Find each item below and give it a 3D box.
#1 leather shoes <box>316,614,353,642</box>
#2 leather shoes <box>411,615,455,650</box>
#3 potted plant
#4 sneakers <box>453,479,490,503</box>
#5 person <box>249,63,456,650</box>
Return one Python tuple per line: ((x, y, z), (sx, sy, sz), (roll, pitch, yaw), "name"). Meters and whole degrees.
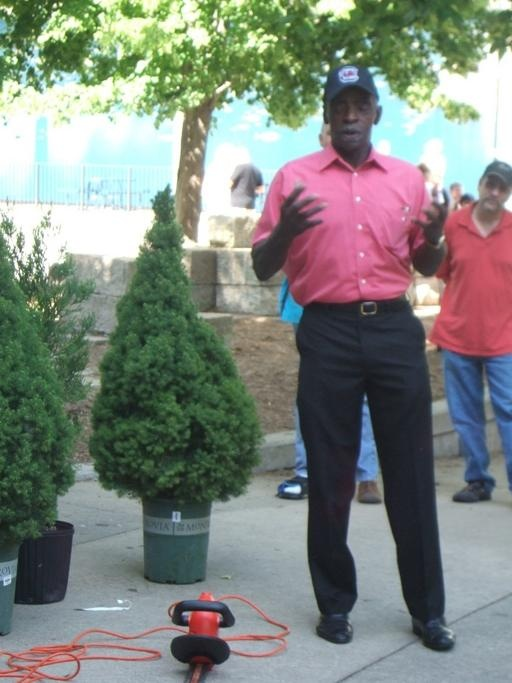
((0.316, 1.157, 5.380), (0.145, 0.088, 0.129), (2, 8, 2), "leather shoes")
((0.715, 1.173, 5.361), (0.070, 0.081, 0.180), (-6, 3, -29), "leather shoes")
((-0.377, 0.286, 6.058), (0.760, 1.563, 0.595), (3, 8, 10), "potted plant")
((1.287, 0.885, 7.823), (0.260, 0.117, 0.099), (4, -5, -36), "sneakers")
((0.409, 0.036, 5.435), (0.860, 2.293, 0.667), (2, 8, 0), "person")
